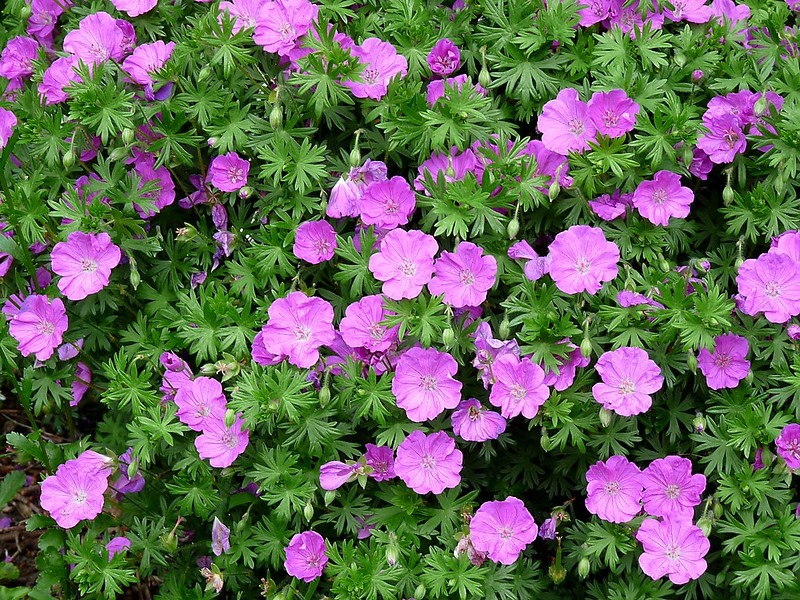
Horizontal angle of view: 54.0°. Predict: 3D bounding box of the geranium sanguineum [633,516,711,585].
[{"bbox_3d":[1.180,1.050,3.402,0.330,0.381,0.122,-8,-73,26],"label":"geranium sanguineum"}]
